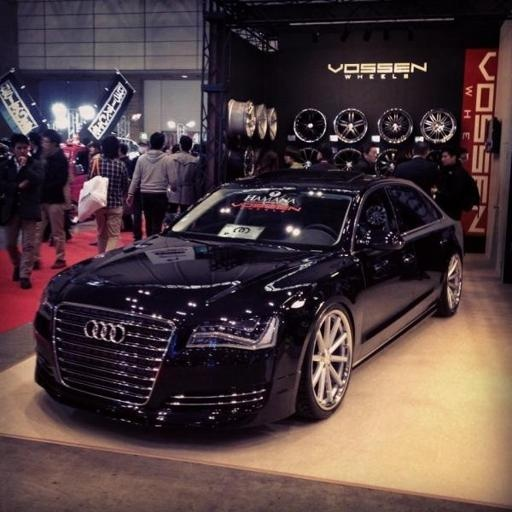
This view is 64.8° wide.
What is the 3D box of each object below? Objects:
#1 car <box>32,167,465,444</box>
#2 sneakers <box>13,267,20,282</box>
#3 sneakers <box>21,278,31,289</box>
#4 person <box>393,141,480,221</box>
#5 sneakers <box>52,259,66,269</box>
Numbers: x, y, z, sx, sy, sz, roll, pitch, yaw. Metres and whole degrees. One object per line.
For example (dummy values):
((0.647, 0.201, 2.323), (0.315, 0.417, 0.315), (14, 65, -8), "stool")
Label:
((0.392, 0.073, 3.121), (1.445, 0.917, 3.258), (7, 13, 32), "car")
((-3.676, 0.283, 6.191), (0.076, 0.224, 0.095), (-2, 6, -6), "sneakers")
((-3.371, 0.390, 5.913), (0.139, 0.155, 0.068), (1, 3, -22), "sneakers")
((3.243, -1.368, 7.510), (1.201, 1.655, 0.599), (-10, 7, -11), "person")
((-3.478, 0.138, 7.111), (0.110, 0.135, 0.324), (2, 2, 2), "sneakers")
